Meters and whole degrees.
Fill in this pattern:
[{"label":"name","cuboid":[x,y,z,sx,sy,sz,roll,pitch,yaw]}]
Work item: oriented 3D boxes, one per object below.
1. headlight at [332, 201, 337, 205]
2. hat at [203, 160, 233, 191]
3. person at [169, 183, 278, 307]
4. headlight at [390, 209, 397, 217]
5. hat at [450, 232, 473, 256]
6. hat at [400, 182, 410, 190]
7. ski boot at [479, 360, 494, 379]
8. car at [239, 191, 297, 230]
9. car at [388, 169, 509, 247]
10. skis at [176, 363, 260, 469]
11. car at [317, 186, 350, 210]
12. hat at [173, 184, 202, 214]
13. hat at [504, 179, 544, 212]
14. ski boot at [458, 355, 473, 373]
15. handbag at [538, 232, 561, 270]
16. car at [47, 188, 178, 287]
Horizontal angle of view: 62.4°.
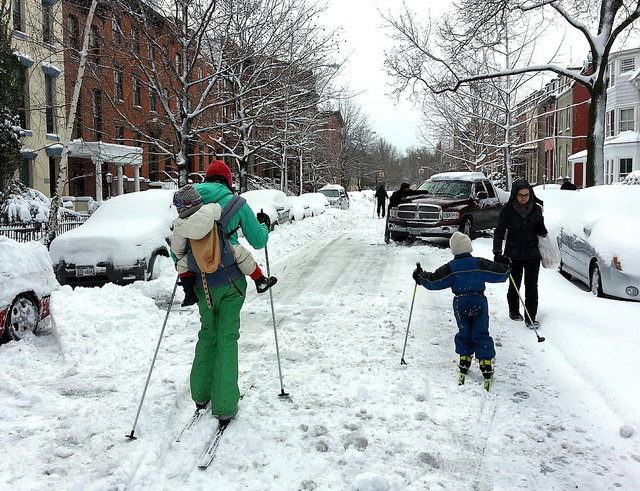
[{"label":"headlight","cuboid":[0.872,-2.702,33.252,0.093,0.191,0.454,13,19,41]},{"label":"hat","cuboid":[-1.137,-0.808,6.057,0.235,0.332,0.333,-2,-14,18]},{"label":"person","cuboid":[-1.181,-0.027,5.778,1.133,1.401,0.618,-20,18,-17]},{"label":"headlight","cuboid":[2.220,-0.997,16.152,0.199,0.206,0.284,2,15,5]},{"label":"hat","cuboid":[1.785,-0.009,6.768,0.263,0.360,0.236,4,15,13]},{"label":"hat","cuboid":[2.651,-1.877,16.648,0.256,0.267,0.843,3,15,8]},{"label":"ski boot","cuboid":[2.033,1.519,6.520,0.148,0.243,0.171,6,15,20]},{"label":"car","cuboid":[-2.072,-1.529,20.733,1.554,1.322,2.861,0,3,13]},{"label":"car","cuboid":[4.208,-1.208,16.678,1.941,1.700,4.063,1,4,31]},{"label":"skis","cuboid":[-1.034,1.894,5.831,0.275,0.048,1.045,3,26,20]},{"label":"car","cuboid":[0.836,-3.123,34.903,1.247,1.224,2.334,-1,2,13]},{"label":"hat","cuboid":[-1.439,-0.514,5.653,0.295,0.295,0.241,0,30,-11]},{"label":"hat","cuboid":[3.292,-0.806,8.332,0.423,0.452,0.550,0,-1,-33]},{"label":"ski boot","cuboid":[1.813,1.480,6.673,0.133,0.219,0.191,6,15,20]},{"label":"handbag","cuboid":[3.582,0.107,8.341,0.331,0.591,0.337,8,16,27]},{"label":"car","cuboid":[-4.250,-0.069,12.610,2.104,2.340,4.575,-1,2,7]}]
